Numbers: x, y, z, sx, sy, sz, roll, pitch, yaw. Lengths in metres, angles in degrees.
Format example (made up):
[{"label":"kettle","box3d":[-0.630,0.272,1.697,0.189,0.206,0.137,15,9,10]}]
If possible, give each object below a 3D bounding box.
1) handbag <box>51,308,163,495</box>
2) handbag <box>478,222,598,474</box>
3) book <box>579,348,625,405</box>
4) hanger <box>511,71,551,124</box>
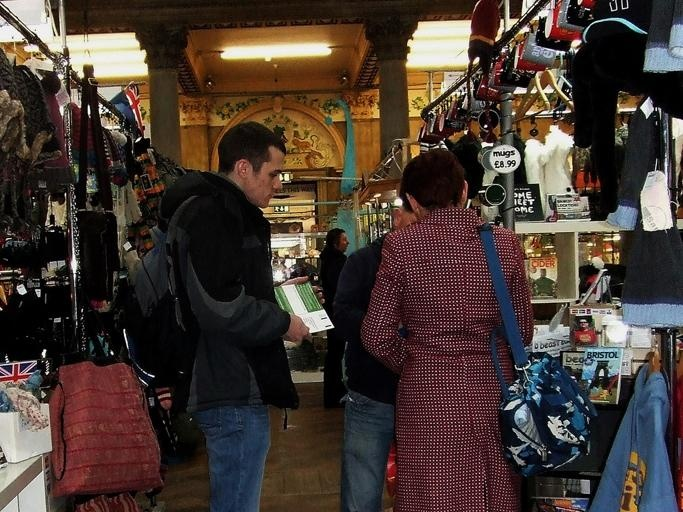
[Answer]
[{"label":"handbag","box3d":[-1.042,0.771,2.675,0.441,0.588,0.318,-4,0,-29]},{"label":"handbag","box3d":[0.763,0.344,2.331,0.398,0.959,0.226,-3,0,5]},{"label":"book","box3d":[1.234,0.570,2.973,0.246,0.251,0.257,2,-8,18]},{"label":"hanger","box3d":[1.255,-1.064,3.985,0.224,0.360,0.760,-3,1,20]}]
